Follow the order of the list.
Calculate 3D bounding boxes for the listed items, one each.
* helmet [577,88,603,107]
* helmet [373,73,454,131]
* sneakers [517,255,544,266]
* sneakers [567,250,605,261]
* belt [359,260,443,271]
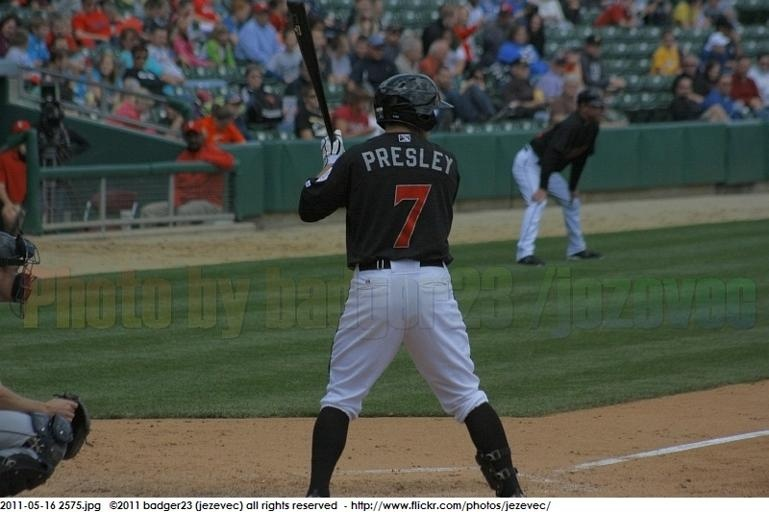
[{"bbox_3d":[1.935,-1.505,16.314,0.198,0.143,0.153,5,1,23],"label":"helmet"},{"bbox_3d":[0.188,-1.166,12.917,0.507,0.323,0.369,-1,14,-4],"label":"helmet"},{"bbox_3d":[1.389,0.045,16.576,0.278,0.115,0.093,-2,10,13],"label":"sneakers"},{"bbox_3d":[1.911,-0.014,16.506,0.326,0.125,0.109,-3,7,8],"label":"sneakers"},{"bbox_3d":[0.116,0.057,12.712,0.636,0.090,0.100,-2,7,-6],"label":"belt"}]
